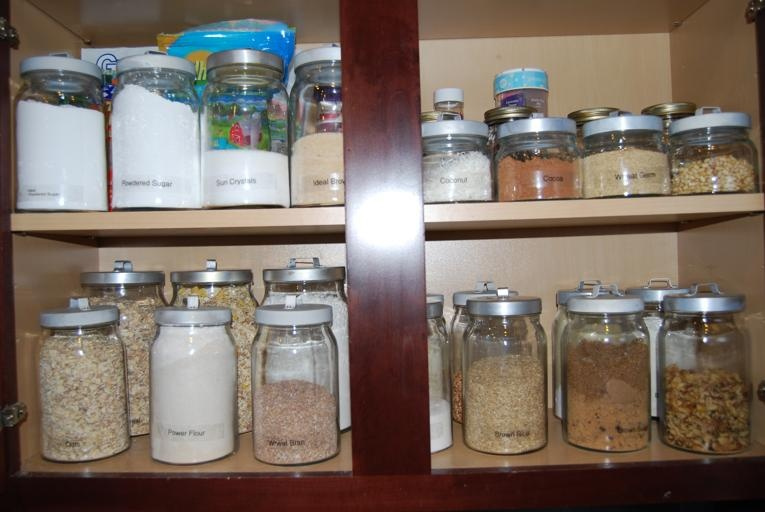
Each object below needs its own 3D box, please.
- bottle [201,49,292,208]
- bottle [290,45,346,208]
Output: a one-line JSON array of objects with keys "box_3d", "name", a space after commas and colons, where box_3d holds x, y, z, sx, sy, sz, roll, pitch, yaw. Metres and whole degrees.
[{"box_3d": [-0.312, -0.283, 1.573, 0.195, 0.354, 0.097, -1, -2, -14], "name": "bottle"}, {"box_3d": [-0.147, -0.290, 1.579, 0.179, 0.365, 0.073, -3, -2, 30], "name": "bottle"}]
